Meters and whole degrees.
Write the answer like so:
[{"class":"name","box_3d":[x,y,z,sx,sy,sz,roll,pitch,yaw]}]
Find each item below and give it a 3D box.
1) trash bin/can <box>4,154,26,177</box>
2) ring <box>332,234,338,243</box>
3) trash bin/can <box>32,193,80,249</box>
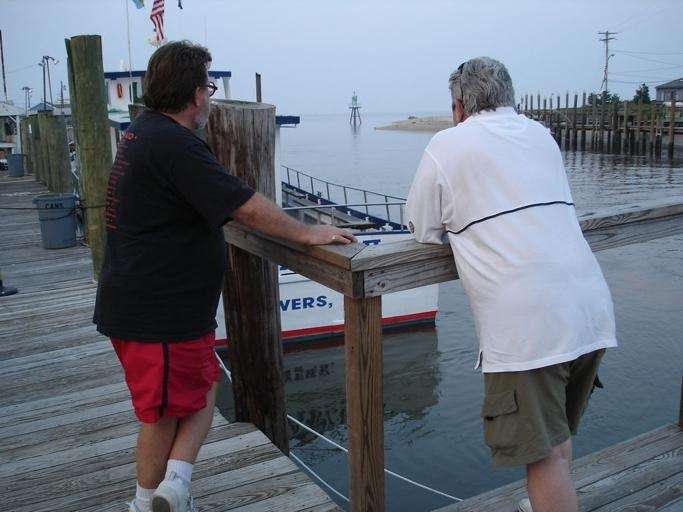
[{"class":"trash bin/can","box_3d":[-9.914,-2.728,20.039,0.585,0.696,0.429,-4,14,-6]},{"class":"ring","box_3d":[-0.028,-0.074,2.855,0.024,0.031,0.012,-1,14,6]},{"class":"trash bin/can","box_3d":[-4.036,-0.476,9.331,0.682,0.790,0.570,3,22,-6]}]
